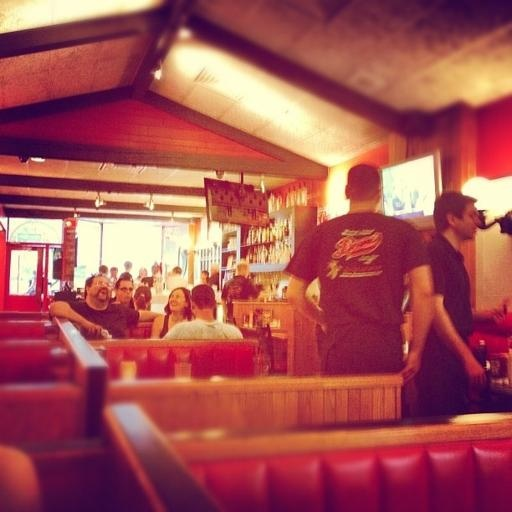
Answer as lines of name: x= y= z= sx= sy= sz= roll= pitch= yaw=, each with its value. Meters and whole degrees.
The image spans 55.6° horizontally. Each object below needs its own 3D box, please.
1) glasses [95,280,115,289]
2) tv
glasses: x=-1.139 y=0.204 z=3.592 sx=0.067 sy=0.024 sz=0.069 roll=13 pitch=-27 yaw=-34
tv: x=1.355 y=-0.579 z=4.185 sx=0.099 sy=0.885 sz=0.802 roll=1 pitch=-2 yaw=-19
